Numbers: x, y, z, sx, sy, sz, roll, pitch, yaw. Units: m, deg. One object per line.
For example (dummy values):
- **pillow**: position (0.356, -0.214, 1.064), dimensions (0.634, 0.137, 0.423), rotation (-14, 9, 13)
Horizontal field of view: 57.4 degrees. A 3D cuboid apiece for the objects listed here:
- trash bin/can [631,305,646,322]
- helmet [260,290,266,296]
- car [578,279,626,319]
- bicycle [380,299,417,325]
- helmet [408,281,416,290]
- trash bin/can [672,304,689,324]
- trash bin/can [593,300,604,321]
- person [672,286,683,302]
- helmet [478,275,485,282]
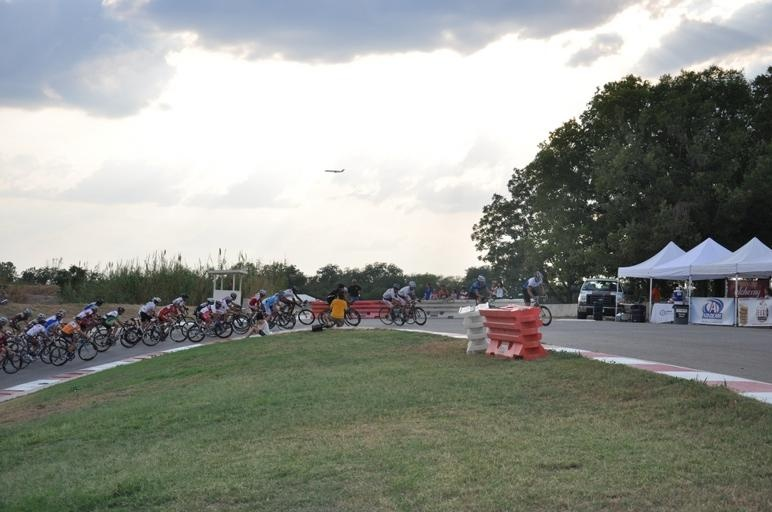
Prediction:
- **trash bin/can**: position (13.691, 3.112, 37.976), dimensions (0.839, 1.283, 0.848), rotation (-2, -5, 42)
- **helmet**: position (-5.494, 1.661, 31.547), dimensions (0.275, 0.277, 0.218), rotation (-9, 13, -33)
- **car**: position (12.290, 2.667, 40.436), dimensions (2.492, 2.337, 3.265), rotation (-5, 8, -7)
- **bicycle**: position (0.553, 2.734, 34.250), dimensions (1.333, 1.293, 1.976), rotation (-8, 9, -30)
- **helmet**: position (1.261, 1.389, 33.294), dimensions (0.318, 0.404, 0.395), rotation (3, 5, 1)
- **trash bin/can**: position (15.296, 2.993, 36.186), dimensions (0.803, 1.079, 0.848), rotation (-1, -4, 17)
- **trash bin/can**: position (11.776, 3.012, 39.004), dimensions (0.464, 0.882, 1.168), rotation (-1, 8, 16)
- **person**: position (15.415, 2.104, 37.113), dimensions (0.542, 0.766, 1.168), rotation (-1, 8, 22)
- **helmet**: position (4.427, 1.044, 32.693), dimensions (0.419, 0.209, 0.622), rotation (2, 2, -2)
